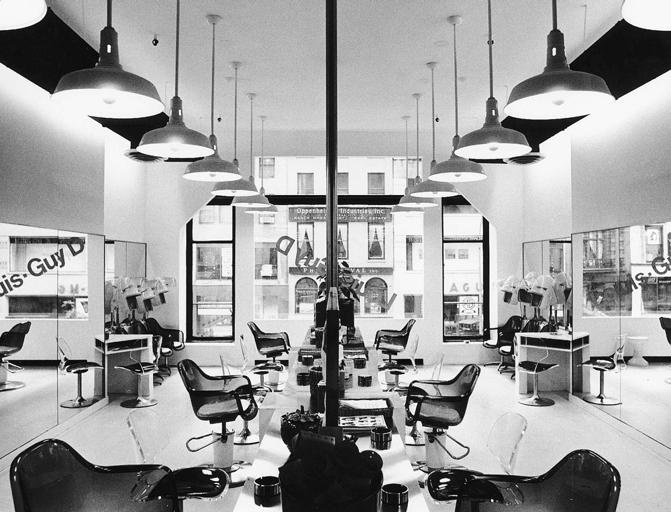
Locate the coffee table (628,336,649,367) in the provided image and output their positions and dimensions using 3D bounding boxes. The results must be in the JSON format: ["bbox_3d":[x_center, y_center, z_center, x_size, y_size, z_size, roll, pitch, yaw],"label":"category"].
[{"bbox_3d":[3.830,1.195,8.528,0.263,0.423,0.290,0,-1,-31],"label":"coffee table"}]

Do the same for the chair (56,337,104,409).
[{"bbox_3d":[-3.483,1.566,9.199,0.550,0.897,0.568,-2,1,-7],"label":"chair"}]

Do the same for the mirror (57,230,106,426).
[{"bbox_3d":[-3.634,0.903,9.329,0.641,2.284,0.697,-9,-5,-34],"label":"mirror"}]

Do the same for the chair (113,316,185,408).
[{"bbox_3d":[-3.110,1.672,11.260,0.762,1.165,0.995,0,-8,-1],"label":"chair"}]
